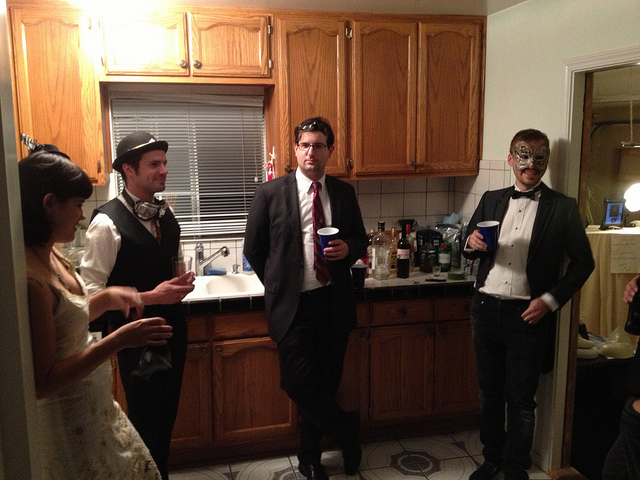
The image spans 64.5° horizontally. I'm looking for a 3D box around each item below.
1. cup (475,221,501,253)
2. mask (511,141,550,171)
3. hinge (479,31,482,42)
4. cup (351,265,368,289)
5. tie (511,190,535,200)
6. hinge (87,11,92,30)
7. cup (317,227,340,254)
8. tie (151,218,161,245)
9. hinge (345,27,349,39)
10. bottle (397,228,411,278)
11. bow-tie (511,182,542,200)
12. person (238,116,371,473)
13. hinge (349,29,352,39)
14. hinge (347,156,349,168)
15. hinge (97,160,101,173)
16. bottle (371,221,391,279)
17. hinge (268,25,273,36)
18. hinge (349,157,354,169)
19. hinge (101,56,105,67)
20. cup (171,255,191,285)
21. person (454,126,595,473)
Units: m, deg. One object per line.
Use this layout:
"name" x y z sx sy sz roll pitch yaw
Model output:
"cup" 0.970 -0.012 2.853 0.168 0.128 0.115 -8 -8 5
"mask" 1.194 -0.471 2.878 0.224 0.149 0.104 4 20 10
"hinge" 1.155 -1.449 3.650 0.024 0.072 0.007 -10 13 -29
"cup" 0.248 0.231 3.263 0.123 0.133 0.121 0 13 0
"tie" 1.163 -0.254 2.914 0.119 0.053 0.041 0 13 17
"hinge" -1.415 -1.335 3.117 0.026 0.103 0.013 -9 13 -22
"cup" 0.044 -0.001 2.792 0.109 0.125 0.142 -4 12 -1
"tie" -0.858 -0.048 2.646 0.028 0.170 0.019 -13 -12 -25
"hinge" 0.186 -1.401 3.472 0.025 0.066 0.014 -1 12 12
"bottle" 0.586 0.118 3.555 0.091 0.260 0.206 -2 12 10
"bow-tie" 1.189 -0.272 2.917 0.165 0.083 0.071 -2 12 9
"person" -0.047 0.382 3.029 0.751 2.140 0.491 -5 12 -7
"hinge" 0.210 -1.398 3.469 0.020 0.053 0.008 -6 12 -10
"hinge" 0.200 -0.542 3.589 0.013 0.066 0.015 -4 12 -1
"hinge" -1.416 -0.466 3.260 0.024 0.079 0.009 -8 12 -21
"bottle" 0.423 0.063 3.523 0.161 0.421 0.165 -1 15 0
"hinge" -0.327 -1.365 3.335 0.039 0.072 0.039 -1 15 -3
"hinge" 0.222 -0.531 3.596 0.033 0.070 0.019 -12 14 -34
"hinge" -1.352 -1.102 3.166 0.023 0.064 0.005 2 13 27
"cup" -0.607 0.133 2.243 0.078 0.118 0.060 4 14 32
"person" 1.168 0.416 2.940 0.698 2.034 0.451 3 13 28
